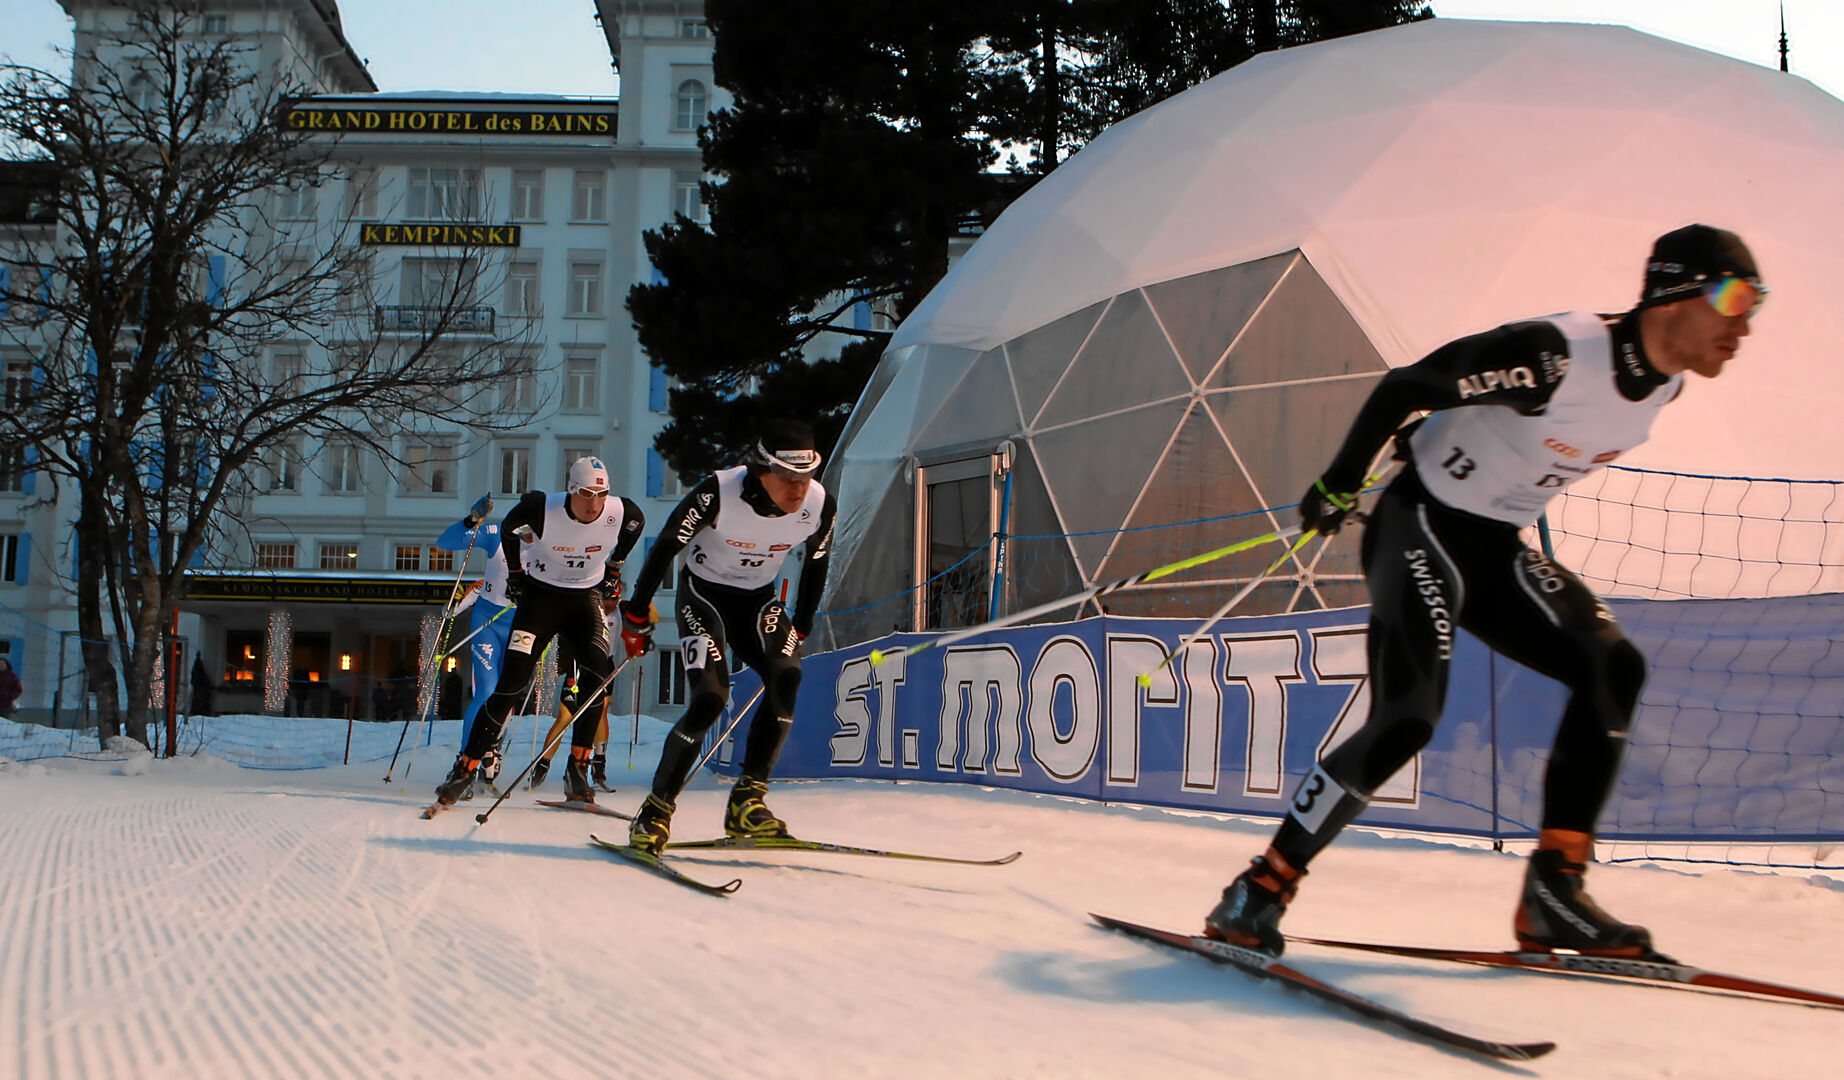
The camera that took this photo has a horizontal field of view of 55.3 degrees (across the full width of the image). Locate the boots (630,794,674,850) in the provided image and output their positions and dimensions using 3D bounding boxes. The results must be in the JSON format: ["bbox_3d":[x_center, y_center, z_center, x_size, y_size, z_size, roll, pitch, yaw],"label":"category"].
[{"bbox_3d":[-2.310,2.409,14.889,0.356,0.525,0.342,-3,11,-23],"label":"boots"}]

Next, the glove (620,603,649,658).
[{"bbox_3d":[-2.465,0.791,15.163,0.252,0.493,0.281,0,10,-6],"label":"glove"}]

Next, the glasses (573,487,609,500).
[{"bbox_3d":[-3.285,-0.422,17.335,0.290,0.128,0.137,-3,11,-25],"label":"glasses"}]

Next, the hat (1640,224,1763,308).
[{"bbox_3d":[5.599,-1.917,12.718,0.820,0.609,0.741,-8,4,-7],"label":"hat"}]

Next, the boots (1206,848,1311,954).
[{"bbox_3d":[2.454,2.623,12.836,0.474,0.728,0.730,31,-17,-36],"label":"boots"}]

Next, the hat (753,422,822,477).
[{"bbox_3d":[-1.179,-0.777,14.800,0.382,0.290,0.524,-3,28,-23],"label":"hat"}]
